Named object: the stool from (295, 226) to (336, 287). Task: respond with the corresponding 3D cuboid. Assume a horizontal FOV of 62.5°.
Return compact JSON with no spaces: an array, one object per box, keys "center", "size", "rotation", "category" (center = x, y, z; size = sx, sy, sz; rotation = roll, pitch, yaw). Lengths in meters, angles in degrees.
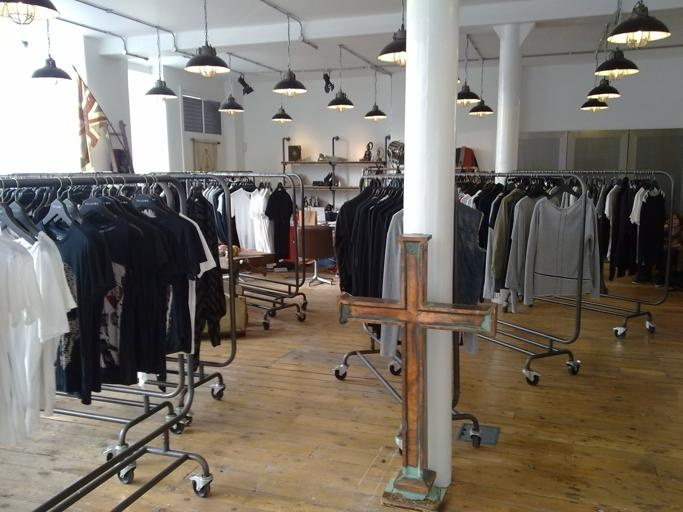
[{"center":[-0.354,-0.025,8.014],"size":[0.436,0.776,0.462],"rotation":[-2,7,-36],"category":"stool"}]
